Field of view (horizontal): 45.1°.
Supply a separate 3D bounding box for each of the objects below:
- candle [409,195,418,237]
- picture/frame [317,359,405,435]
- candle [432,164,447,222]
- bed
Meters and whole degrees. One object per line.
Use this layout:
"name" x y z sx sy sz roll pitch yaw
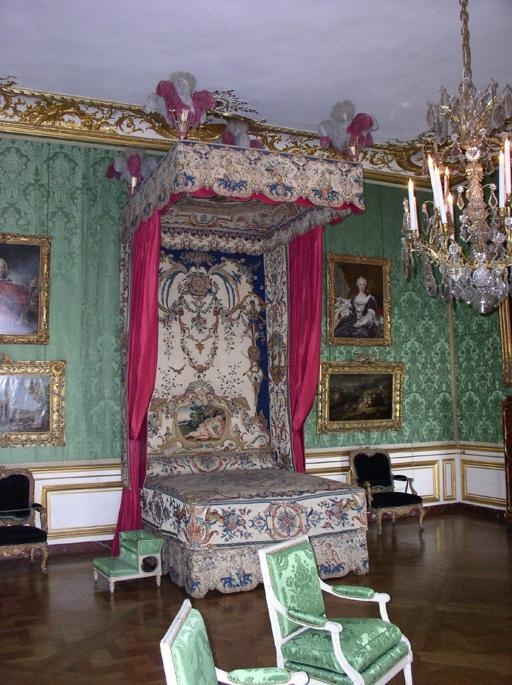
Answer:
"candle" 0.952 -0.772 3.750 0.041 0.251 0.165 -3 -7 16
"picture/frame" 1.260 0.689 7.778 1.143 0.786 0.060 0 -1 -25
"candle" 1.041 -0.845 3.542 0.074 0.386 0.198 -3 -7 17
"bed" -0.262 1.405 5.854 1.516 1.586 1.911 3 -12 -27
